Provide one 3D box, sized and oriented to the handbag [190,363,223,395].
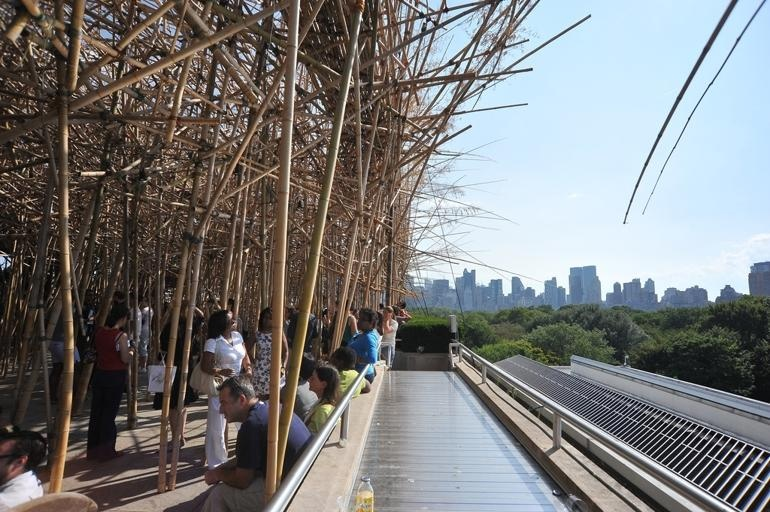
[{"bbox_3d":[-2.186,1.447,5.697,0.360,0.359,0.168,-13,-27,33],"label":"handbag"}]
